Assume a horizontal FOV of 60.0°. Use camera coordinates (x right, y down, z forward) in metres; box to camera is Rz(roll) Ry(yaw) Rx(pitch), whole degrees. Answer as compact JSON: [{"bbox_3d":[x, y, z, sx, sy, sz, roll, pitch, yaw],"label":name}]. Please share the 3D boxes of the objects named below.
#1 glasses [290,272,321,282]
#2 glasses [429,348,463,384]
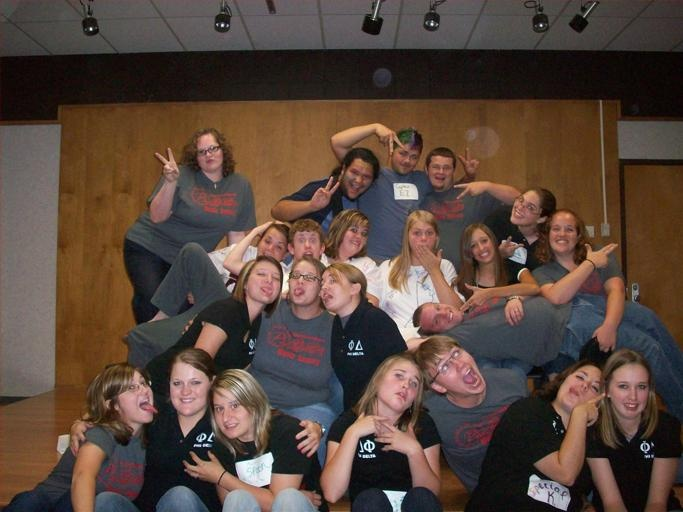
[{"bbox_3d":[-0.264,0.158,4.363,0.228,0.049,0.068,3,1,-6],"label":"glasses"},{"bbox_3d":[0.702,0.748,4.030,0.223,0.067,0.222,-39,-19,-22],"label":"glasses"}]
